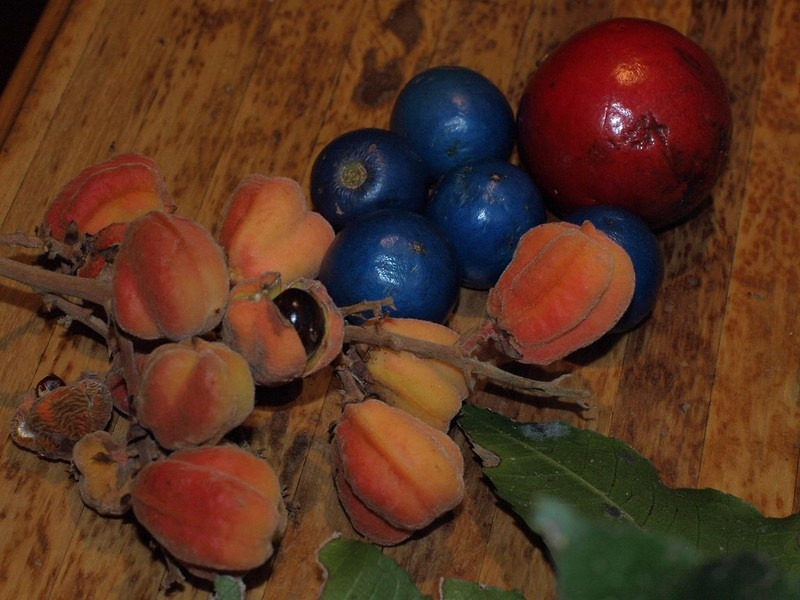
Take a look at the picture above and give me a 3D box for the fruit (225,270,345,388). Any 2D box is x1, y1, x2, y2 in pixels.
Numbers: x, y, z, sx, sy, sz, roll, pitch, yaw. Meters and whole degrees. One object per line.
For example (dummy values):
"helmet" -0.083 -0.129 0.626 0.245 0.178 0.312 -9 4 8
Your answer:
"fruit" -0.208 0.045 1.650 0.207 0.141 0.181 -15 77 0

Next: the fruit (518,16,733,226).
"fruit" 0.456 -0.379 2.034 0.384 0.383 0.430 -9 77 -27

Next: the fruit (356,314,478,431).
"fruit" 0.031 0.136 1.770 0.204 0.085 0.194 30 82 -1

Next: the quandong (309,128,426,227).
"quandong" -0.080 -0.254 1.957 0.182 0.196 0.199 -9 61 -25

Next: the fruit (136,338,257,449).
"fruit" -0.344 0.133 1.612 0.174 0.159 0.204 -4 95 -29
